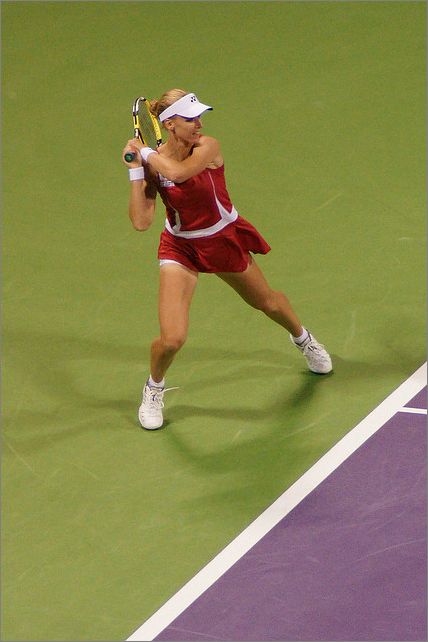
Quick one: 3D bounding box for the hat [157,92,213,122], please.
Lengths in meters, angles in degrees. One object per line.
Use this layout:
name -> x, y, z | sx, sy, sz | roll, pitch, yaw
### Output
hat -> -0.143, -1.046, 2.898 | 0.227, 0.073, 0.142 | -8, 19, 35

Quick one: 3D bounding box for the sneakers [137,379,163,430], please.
sneakers -> -0.358, 0.478, 3.401 | 0.127, 0.130, 0.313 | 7, 31, -15
